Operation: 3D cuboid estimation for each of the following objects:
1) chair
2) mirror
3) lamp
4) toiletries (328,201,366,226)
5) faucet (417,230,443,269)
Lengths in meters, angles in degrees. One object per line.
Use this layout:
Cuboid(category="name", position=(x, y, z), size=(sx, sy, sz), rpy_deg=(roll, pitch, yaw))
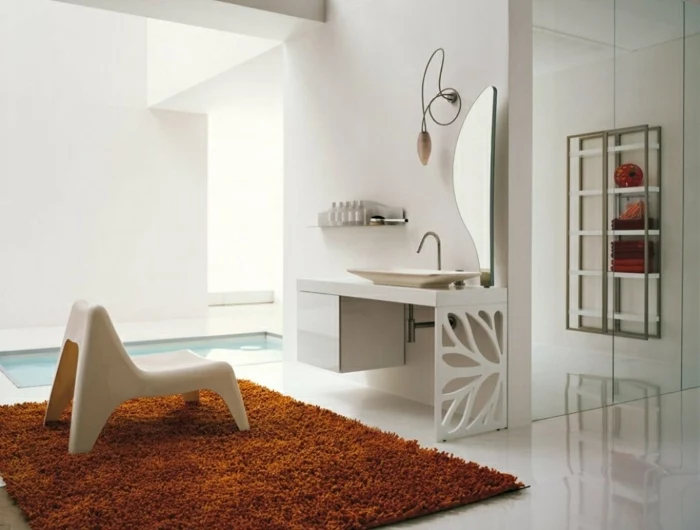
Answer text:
Cuboid(category="chair", position=(-1.289, 0.543, 3.378), size=(0.986, 0.770, 0.819), rpy_deg=(-2, 3, -28))
Cuboid(category="mirror", position=(0.822, -0.499, 3.615), size=(0.073, 1.261, 0.346), rpy_deg=(-1, 3, -34))
Cuboid(category="lamp", position=(0.609, -1.129, 3.875), size=(0.107, 0.813, 0.389), rpy_deg=(-1, 3, -36))
Cuboid(category="toiletries", position=(-0.031, -0.433, 4.584), size=(0.196, 0.217, 0.533), rpy_deg=(0, 2, -23))
Cuboid(category="faucet", position=(0.561, -0.103, 3.887), size=(0.179, 0.275, 0.421), rpy_deg=(1, 2, 9))
